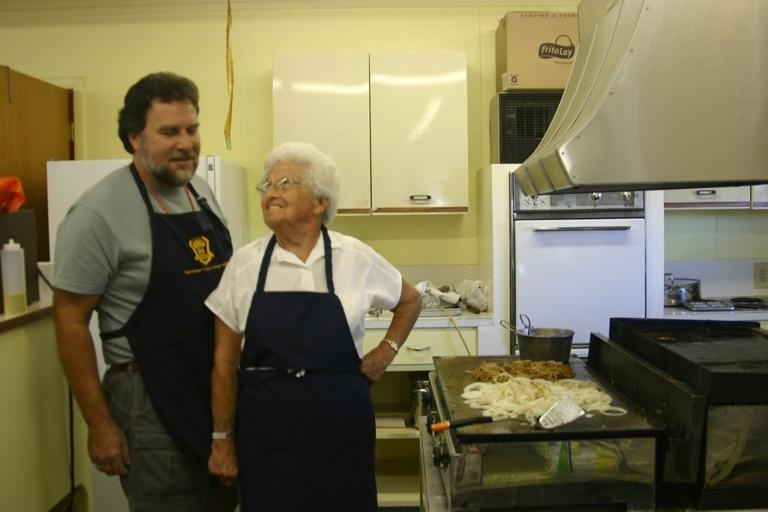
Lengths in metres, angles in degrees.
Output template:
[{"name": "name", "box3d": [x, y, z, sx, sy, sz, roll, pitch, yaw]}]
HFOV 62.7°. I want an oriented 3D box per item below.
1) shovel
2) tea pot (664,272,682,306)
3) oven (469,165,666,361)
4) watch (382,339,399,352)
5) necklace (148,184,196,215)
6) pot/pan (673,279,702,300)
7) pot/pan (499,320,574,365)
[{"name": "shovel", "box3d": [0.481, 0.619, 2.424, 0.632, 0.063, 0.202, 1, 3, -4]}, {"name": "tea pot", "box3d": [2.054, 0.233, 4.488, 0.102, 0.207, 0.281, 0, 5, 23]}, {"name": "oven", "box3d": [1.201, -0.028, 4.383, 1.161, 1.196, 0.731, 1, 8, 0]}, {"name": "watch", "box3d": [0.024, 0.363, 2.558, 0.056, 0.049, 0.022, 9, 30, 18]}, {"name": "necklace", "box3d": [-0.890, -0.223, 2.580, 0.135, 0.130, 0.036, -24, -19, -30]}, {"name": "pot/pan", "box3d": [2.160, 0.214, 4.459, 0.168, 0.106, 0.167, -1, 5, 5]}, {"name": "pot/pan", "box3d": [0.712, 0.400, 2.974, 0.266, 0.157, 0.274, 3, 5, -2]}]
